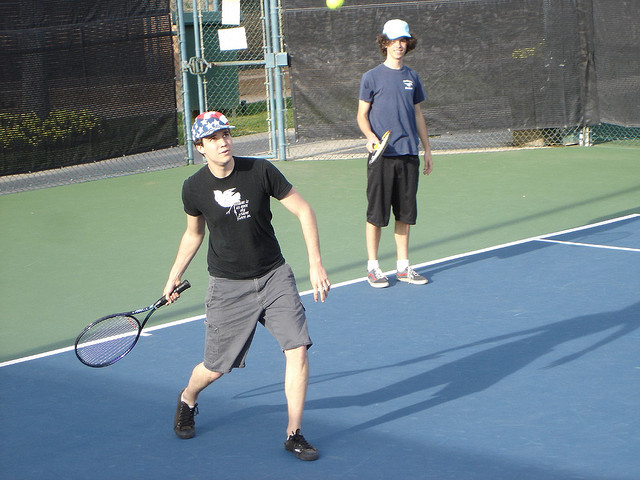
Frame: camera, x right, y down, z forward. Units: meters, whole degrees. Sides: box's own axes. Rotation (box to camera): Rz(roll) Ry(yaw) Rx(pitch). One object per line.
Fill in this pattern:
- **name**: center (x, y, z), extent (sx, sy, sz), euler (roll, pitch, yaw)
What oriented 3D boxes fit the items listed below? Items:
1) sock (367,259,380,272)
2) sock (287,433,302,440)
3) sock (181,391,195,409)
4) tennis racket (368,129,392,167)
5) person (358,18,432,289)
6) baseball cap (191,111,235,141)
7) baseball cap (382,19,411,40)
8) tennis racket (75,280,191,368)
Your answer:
- **sock**: center (0.535, 0.258, 7.327), extent (0.113, 0.101, 0.115), euler (-1, -4, 1)
- **sock**: center (-0.179, 1.260, 4.455), extent (0.090, 0.051, 0.035), euler (0, 17, 7)
- **sock**: center (-0.912, 1.107, 4.782), extent (0.100, 0.079, 0.076), euler (9, 9, 39)
- **tennis racket**: center (0.566, -0.903, 6.937), extent (0.250, 0.393, 0.449), euler (-1, 16, 5)
- **person**: center (0.743, -0.872, 7.193), extent (0.719, 2.687, 0.834), euler (-1, 18, 8)
- **baseball cap**: center (-0.695, -0.724, 4.364), extent (0.175, 0.117, 0.230), euler (-20, 0, -44)
- **baseball cap**: center (0.742, -2.114, 6.959), extent (0.261, 0.180, 0.254), euler (-1, 16, 6)
- **tennis racket**: center (-1.362, 0.583, 4.852), extent (0.696, 0.564, 0.710), euler (-9, 17, -20)
